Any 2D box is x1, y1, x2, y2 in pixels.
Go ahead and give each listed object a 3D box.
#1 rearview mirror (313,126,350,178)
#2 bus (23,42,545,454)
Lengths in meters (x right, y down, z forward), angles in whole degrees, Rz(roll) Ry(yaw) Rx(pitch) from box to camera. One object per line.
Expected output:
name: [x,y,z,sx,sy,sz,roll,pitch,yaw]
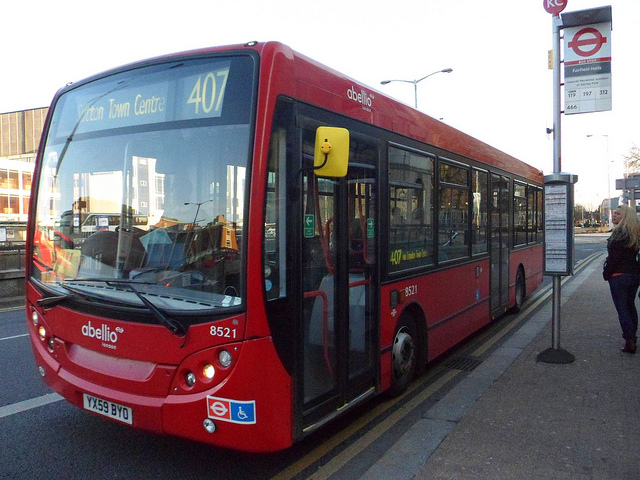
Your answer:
rearview mirror: [0.115,-0.781,4.563,0.278,0.453,0.145,2,-11,-2]
bus: [0.944,0.172,8.305,3.122,3.174,9.462,1,1,34]
